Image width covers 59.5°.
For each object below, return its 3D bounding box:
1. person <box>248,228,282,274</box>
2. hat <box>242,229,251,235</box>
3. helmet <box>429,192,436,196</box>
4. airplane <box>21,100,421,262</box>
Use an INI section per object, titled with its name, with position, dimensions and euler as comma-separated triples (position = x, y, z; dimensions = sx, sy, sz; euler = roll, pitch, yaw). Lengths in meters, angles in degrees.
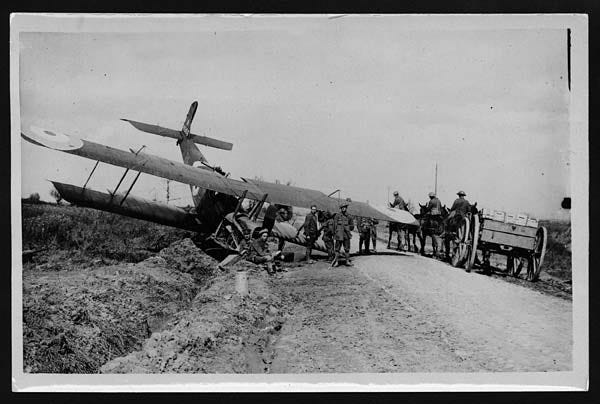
[person]
position = -0.761, 1.082, 11.655
dimensions = 0.779, 0.770, 0.538
euler = 8, -4, -11
[hat]
position = -1.208, 0.683, 11.846
dimensions = 0.152, 0.041, 0.158
euler = -15, 26, -31
[helmet]
position = 2.899, -0.159, 11.422
dimensions = 0.142, 0.086, 0.102
euler = 7, -4, 12
[airplane]
position = -2.545, -0.583, 11.569
dimensions = 6.070, 2.875, 1.613
euler = 9, -4, -8
